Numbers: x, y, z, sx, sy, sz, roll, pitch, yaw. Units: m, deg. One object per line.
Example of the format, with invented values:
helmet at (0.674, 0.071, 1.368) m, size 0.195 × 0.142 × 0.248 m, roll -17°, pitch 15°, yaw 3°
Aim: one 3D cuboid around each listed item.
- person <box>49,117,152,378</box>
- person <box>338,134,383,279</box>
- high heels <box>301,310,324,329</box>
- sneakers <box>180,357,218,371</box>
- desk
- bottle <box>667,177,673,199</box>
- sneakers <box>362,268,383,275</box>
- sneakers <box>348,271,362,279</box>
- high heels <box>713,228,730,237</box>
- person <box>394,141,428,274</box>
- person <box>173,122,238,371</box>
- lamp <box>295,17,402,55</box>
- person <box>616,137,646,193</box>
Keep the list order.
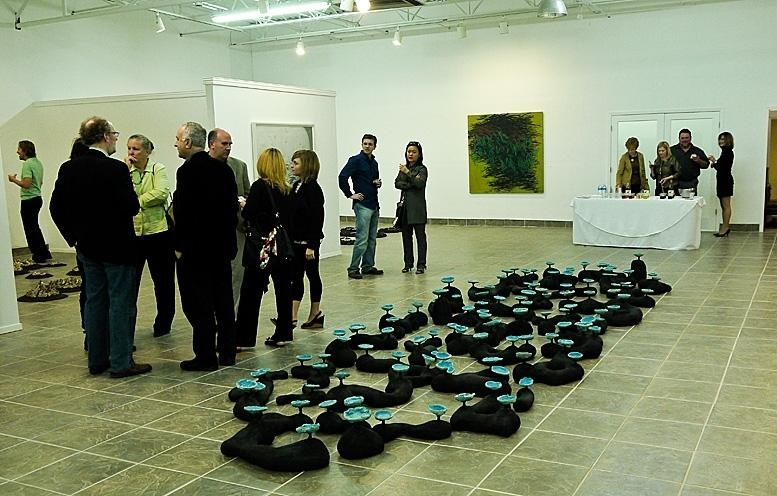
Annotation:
person at (-2.636, -0.001, 5.172) m, size 0.738 × 2.377 × 0.612 m, roll 6°, pitch 16°, yaw 32°
person at (-0.432, -0.673, 8.813) m, size 0.653 × 2.205 × 1.013 m, roll -3°, pitch 14°, yaw -2°
high heels at (-0.841, 0.844, 6.343) m, size 0.385 × 0.180 × 0.118 m, roll 0°, pitch 3°, yaw 4°
sneakers at (-1.800, 1.111, 5.303) m, size 0.339 × 0.114 × 0.139 m, roll 5°, pitch 3°, yaw 6°
desk at (4.640, -0.481, 10.442) m, size 2.154 × 1.005 × 0.403 m, roll 5°, pitch 16°, yaw 29°
bottle at (5.428, -1.172, 10.589) m, size 0.098 × 0.317 × 0.749 m, roll 4°, pitch 14°, yaw 26°
sneakers at (-0.247, 0.366, 8.922) m, size 0.355 × 0.119 × 0.116 m, roll -1°, pitch 6°, yaw -4°
sneakers at (-0.505, 0.427, 8.665) m, size 0.101 × 0.070 × 0.196 m, roll -2°, pitch 0°, yaw -40°
high heels at (7.100, -0.308, 11.768) m, size 0.514 × 0.212 × 0.160 m, roll 0°, pitch 2°, yaw -23°
person at (0.391, -0.657, 8.902) m, size 0.468 × 2.055 × 0.781 m, roll -2°, pitch 14°, yaw 3°
person at (-1.739, 0.126, 5.237) m, size 0.527 × 2.035 × 0.507 m, roll 0°, pitch 14°, yaw 9°
lamp at (-1.176, -5.659, 15.120) m, size 3.907 × 0.590 × 1.608 m, roll 4°, pitch 14°, yaw 25°
person at (5.034, -1.687, 11.367) m, size 0.610 × 1.124 × 1.192 m, roll 3°, pitch 14°, yaw 21°
